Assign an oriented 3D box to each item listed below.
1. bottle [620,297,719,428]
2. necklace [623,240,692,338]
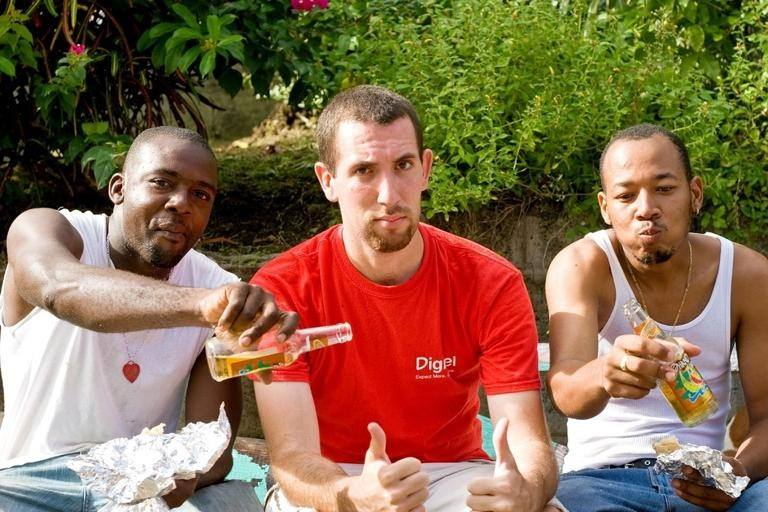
[{"bbox_3d":[1.501,0.553,4.224,0.389,0.689,0.360,-2,16,1],"label":"bottle"},{"bbox_3d":[1.657,0.166,4.626,0.302,0.569,0.142,-1,5,10],"label":"necklace"}]
